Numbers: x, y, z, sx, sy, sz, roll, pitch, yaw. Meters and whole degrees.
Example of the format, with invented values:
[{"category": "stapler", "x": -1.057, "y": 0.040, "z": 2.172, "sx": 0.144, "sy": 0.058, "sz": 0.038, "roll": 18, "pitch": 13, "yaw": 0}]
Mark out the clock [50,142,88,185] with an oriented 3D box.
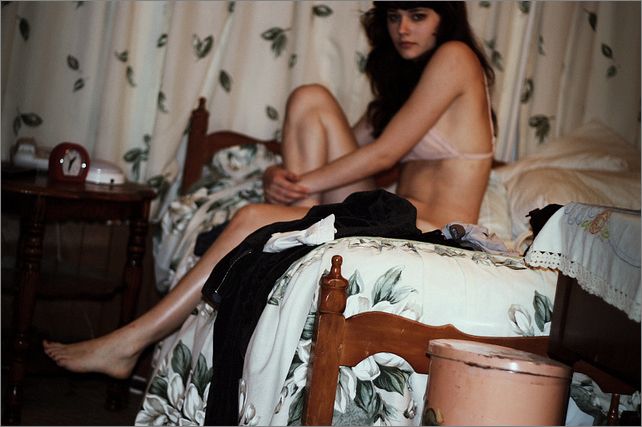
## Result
[{"category": "clock", "x": -0.952, "y": -0.199, "z": 2.008, "sx": 0.110, "sy": 0.144, "sz": 0.073, "roll": 6, "pitch": -4, "yaw": -18}]
